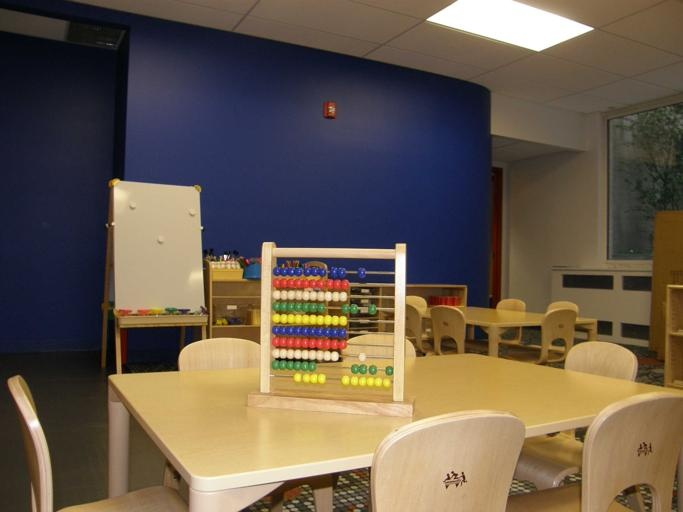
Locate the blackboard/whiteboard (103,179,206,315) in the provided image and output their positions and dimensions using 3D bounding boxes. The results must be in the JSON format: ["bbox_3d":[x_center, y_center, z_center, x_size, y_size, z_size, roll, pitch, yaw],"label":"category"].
[{"bbox_3d":[-1.659,-0.088,4.923,0.781,1.156,0.393,1,1,-26],"label":"blackboard/whiteboard"}]
